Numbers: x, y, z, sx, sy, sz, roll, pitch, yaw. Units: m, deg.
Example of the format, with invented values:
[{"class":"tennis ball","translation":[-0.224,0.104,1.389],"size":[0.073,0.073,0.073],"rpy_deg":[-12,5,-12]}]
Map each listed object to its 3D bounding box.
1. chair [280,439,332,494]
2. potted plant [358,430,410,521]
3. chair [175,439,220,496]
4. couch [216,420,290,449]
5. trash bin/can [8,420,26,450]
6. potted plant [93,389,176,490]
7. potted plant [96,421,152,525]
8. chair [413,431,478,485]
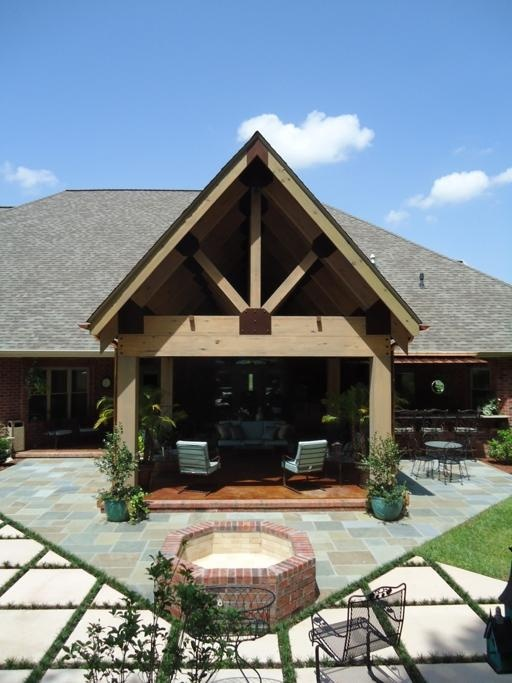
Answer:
[{"class":"chair","translation":[1.154,2.656,12.981],"size":[0.934,1.254,1.275],"rpy_deg":[5,-10,-23]},{"class":"potted plant","translation":[2.480,2.592,11.138],"size":[0.780,1.489,0.783],"rpy_deg":[0,0,-13]},{"class":"chair","translation":[-1.489,2.742,12.974],"size":[0.869,1.277,1.312],"rpy_deg":[-2,-9,14]},{"class":"couch","translation":[-0.080,2.527,15.874],"size":[2.311,0.701,0.890],"rpy_deg":[0,5,-4]},{"class":"trash bin/can","translation":[-6.976,2.785,17.017],"size":[0.433,0.807,0.318],"rpy_deg":[0,0,-30]},{"class":"potted plant","translation":[-2.559,2.303,14.195],"size":[2.288,2.316,2.363],"rpy_deg":[2,-10,-17]},{"class":"potted plant","translation":[-2.540,2.502,11.132],"size":[0.921,1.299,1.124],"rpy_deg":[0,0,-15]},{"class":"chair","translation":[4.942,3.198,15.708],"size":[1.452,0.656,1.395],"rpy_deg":[0,-5,-8]}]
